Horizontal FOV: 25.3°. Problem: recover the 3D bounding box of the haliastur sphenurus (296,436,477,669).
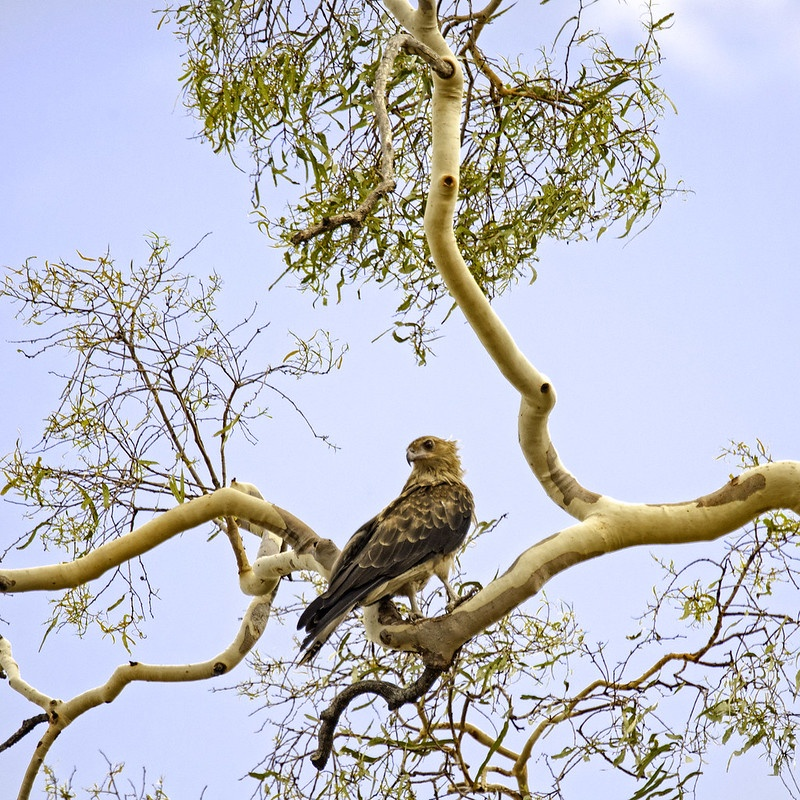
[{"bbox_3d":[-0.026,0.668,7.265,0.766,1.173,0.568,1,-47,-9],"label":"haliastur sphenurus"}]
